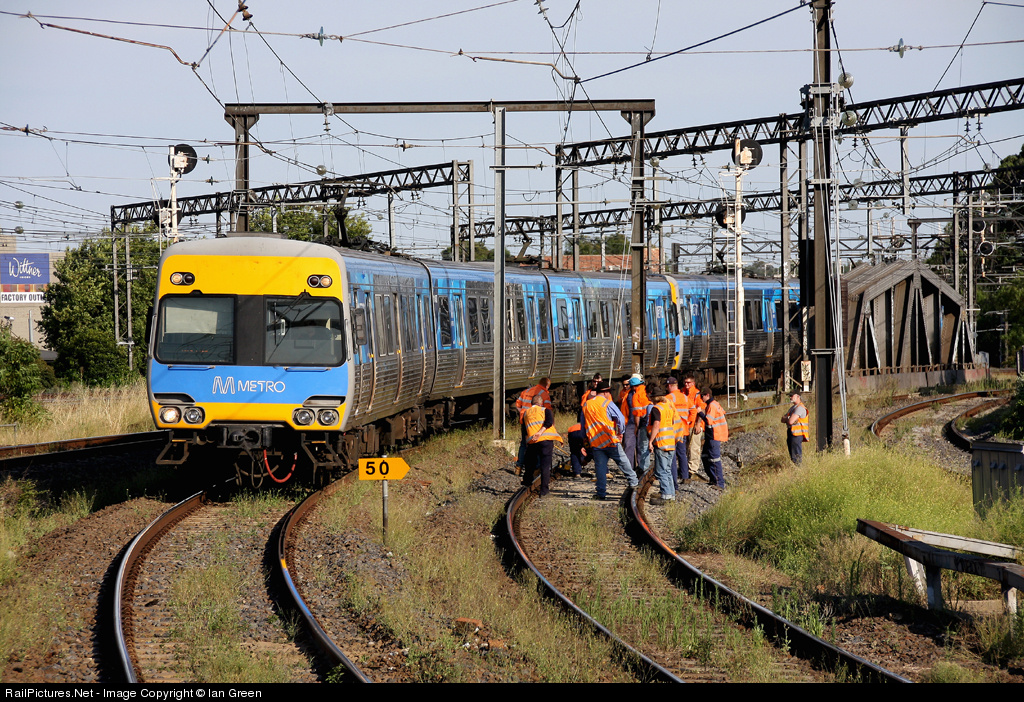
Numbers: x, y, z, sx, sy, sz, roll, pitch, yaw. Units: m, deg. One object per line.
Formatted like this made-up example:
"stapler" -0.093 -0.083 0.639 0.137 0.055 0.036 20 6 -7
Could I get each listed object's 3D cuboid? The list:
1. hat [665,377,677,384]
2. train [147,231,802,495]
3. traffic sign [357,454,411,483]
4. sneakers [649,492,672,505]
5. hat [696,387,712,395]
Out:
"hat" 3.166 0.603 19.523 0.301 0.126 0.356 0 -1 25
"train" 2.523 -0.332 27.876 4.449 4.525 29.624 4 5 33
"traffic sign" -1.926 1.805 14.822 0.698 0.423 0.467 2 4 7
"sneakers" 2.748 2.773 18.239 0.462 0.223 0.164 -1 2 28
"hat" 3.876 0.838 19.828 0.345 0.193 0.488 0 -5 5
